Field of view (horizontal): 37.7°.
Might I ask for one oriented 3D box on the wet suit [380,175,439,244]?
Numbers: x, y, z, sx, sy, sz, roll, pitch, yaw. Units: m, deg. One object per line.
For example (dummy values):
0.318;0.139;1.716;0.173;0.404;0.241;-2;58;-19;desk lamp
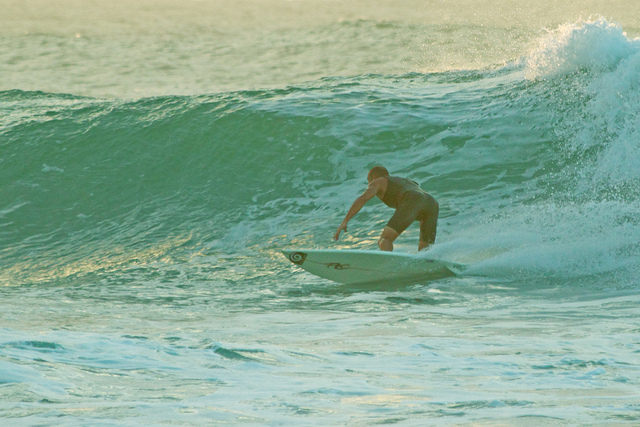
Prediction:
2.086;-0.160;20.991;1.409;0.532;1.420;-12;66;-34;wet suit
